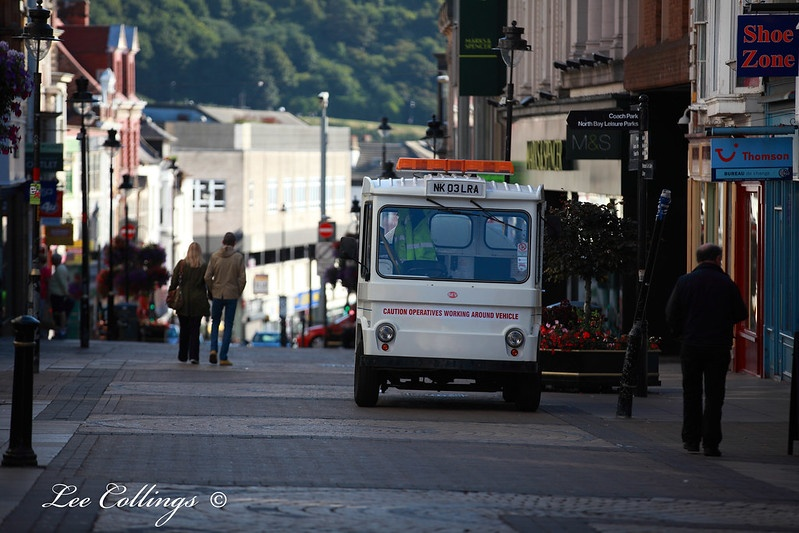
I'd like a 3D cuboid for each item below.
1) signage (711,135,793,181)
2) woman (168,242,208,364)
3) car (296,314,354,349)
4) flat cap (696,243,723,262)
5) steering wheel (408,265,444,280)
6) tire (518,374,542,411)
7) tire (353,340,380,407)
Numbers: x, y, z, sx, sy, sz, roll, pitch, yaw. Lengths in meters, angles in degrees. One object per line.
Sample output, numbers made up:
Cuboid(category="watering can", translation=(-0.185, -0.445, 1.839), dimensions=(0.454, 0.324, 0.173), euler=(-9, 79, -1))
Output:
Cuboid(category="signage", translation=(5.630, -1.725, 24.054), dimensions=(1.248, 0.688, 0.409), euler=(1, 1, 12))
Cuboid(category="woman", translation=(-3.873, 0.675, 27.806), dimensions=(0.769, 2.261, 1.099), euler=(0, 1, -8))
Cuboid(category="car", translation=(-2.623, 2.316, 54.247), dimensions=(1.836, 0.972, 1.123), euler=(3, -1, 4))
Cuboid(category="flat cap", translation=(4.171, -0.205, 20.318), dimensions=(0.232, 0.273, 0.282), euler=(2, 11, 14))
Cuboid(category="steering wheel", translation=(0.407, 0.049, 22.507), dimensions=(0.538, 0.243, 0.113), euler=(0, 1, -12))
Cuboid(category="tire", translation=(1.963, 1.878, 22.813), dimensions=(0.230, 0.559, 0.556), euler=(5, -3, 3))
Cuboid(category="tire", translation=(-0.481, 1.591, 22.600), dimensions=(0.341, 0.965, 0.959), euler=(0, 5, -5))
